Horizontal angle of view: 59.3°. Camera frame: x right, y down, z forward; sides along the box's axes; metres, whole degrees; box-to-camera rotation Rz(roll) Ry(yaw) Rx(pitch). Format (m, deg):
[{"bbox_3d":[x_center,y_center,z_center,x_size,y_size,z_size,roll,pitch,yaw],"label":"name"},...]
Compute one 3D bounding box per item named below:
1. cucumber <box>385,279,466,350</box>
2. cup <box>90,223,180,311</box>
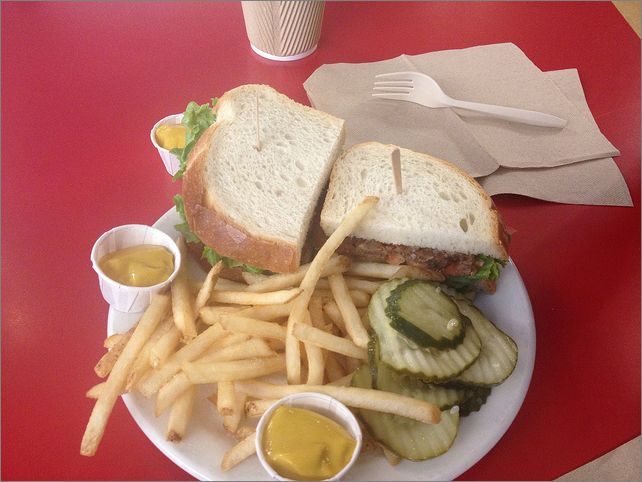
[{"bbox_3d":[0.422,0.275,2.199,0.235,0.040,0.274,-21,60,-33],"label":"cucumber"},{"bbox_3d":[-0.800,0.085,2.404,0.338,0.230,0.390,7,57,-25],"label":"cup"}]
